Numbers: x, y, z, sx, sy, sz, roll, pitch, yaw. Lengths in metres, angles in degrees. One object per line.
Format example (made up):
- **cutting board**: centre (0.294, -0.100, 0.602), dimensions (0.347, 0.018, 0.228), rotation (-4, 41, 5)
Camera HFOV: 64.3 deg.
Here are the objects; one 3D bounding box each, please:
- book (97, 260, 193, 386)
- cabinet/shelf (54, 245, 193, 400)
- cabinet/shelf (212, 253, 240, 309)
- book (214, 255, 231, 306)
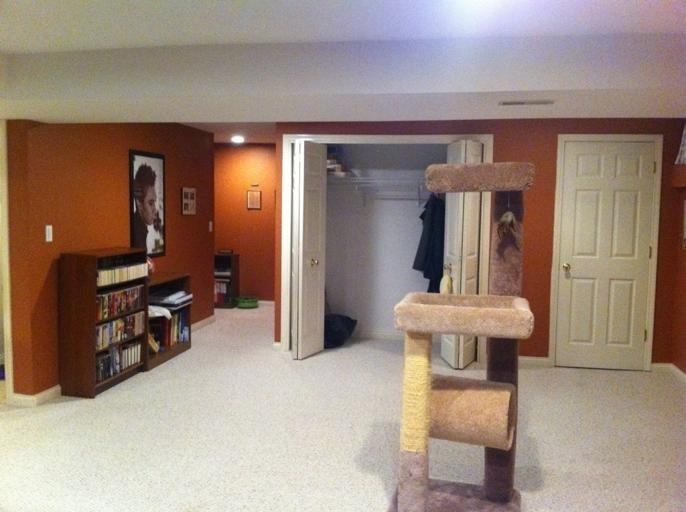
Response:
- **book**: centre (-2.009, 0.723, 5.482), dimensions (0.331, 0.700, 1.093), rotation (1, 7, 6)
- **cabinet/shelf**: centre (-2.135, 0.685, 5.227), dimensions (0.282, 0.959, 1.277), rotation (0, 6, 8)
- **cabinet/shelf**: centre (-1.904, 0.402, 8.781), dimensions (0.468, 0.789, 0.453), rotation (0, 1, 1)
- **book**: centre (-1.903, 0.395, 8.668), dimensions (0.287, 0.832, 0.236), rotation (0, 10, -3)
